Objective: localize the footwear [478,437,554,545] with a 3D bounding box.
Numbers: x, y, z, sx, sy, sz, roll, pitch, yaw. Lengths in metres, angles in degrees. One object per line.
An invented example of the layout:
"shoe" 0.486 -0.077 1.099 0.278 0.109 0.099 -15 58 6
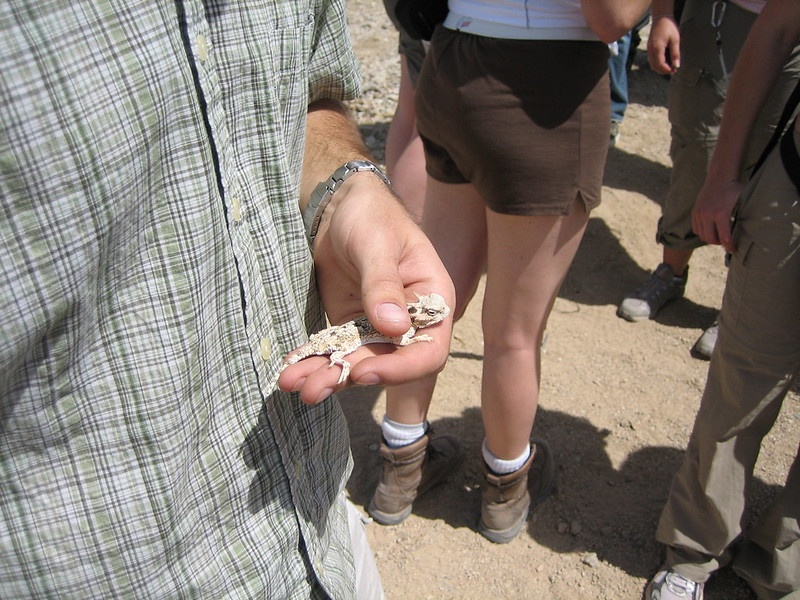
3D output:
"footwear" 0.481 0.734 2.864 0.194 0.443 0.453 9 41 22

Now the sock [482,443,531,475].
"sock" 0.417 0.644 2.612 0.114 0.069 0.150 -1 22 6

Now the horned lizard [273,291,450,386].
"horned lizard" -0.074 0.083 1.576 0.316 0.118 0.210 -12 39 -10

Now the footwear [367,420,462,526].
"footwear" 0.065 0.778 2.904 0.155 0.320 0.443 25 45 27

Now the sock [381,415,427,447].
"sock" 0.014 0.527 2.676 0.110 0.106 0.151 2 12 5
